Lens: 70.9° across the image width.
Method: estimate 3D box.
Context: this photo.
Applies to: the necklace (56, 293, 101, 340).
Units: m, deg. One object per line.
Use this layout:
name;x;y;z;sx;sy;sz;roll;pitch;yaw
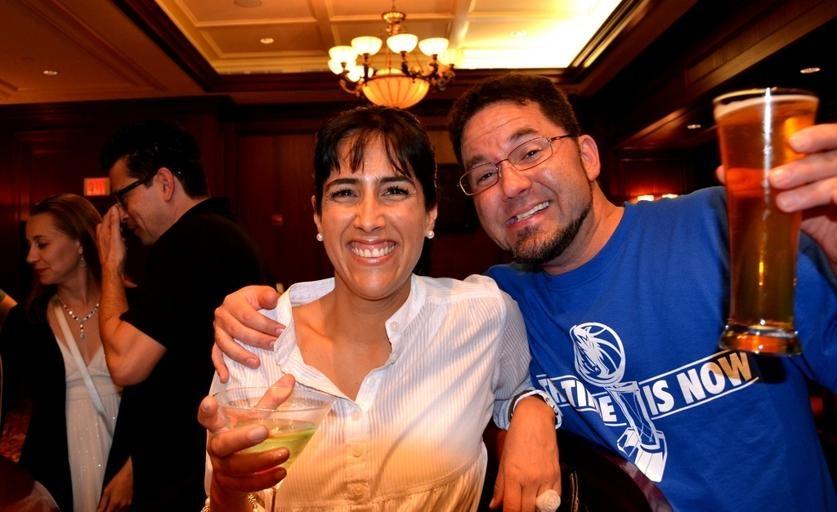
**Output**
necklace;-2.588;0.472;4.432;0.328;0.309;0.085;8;-26;-34
